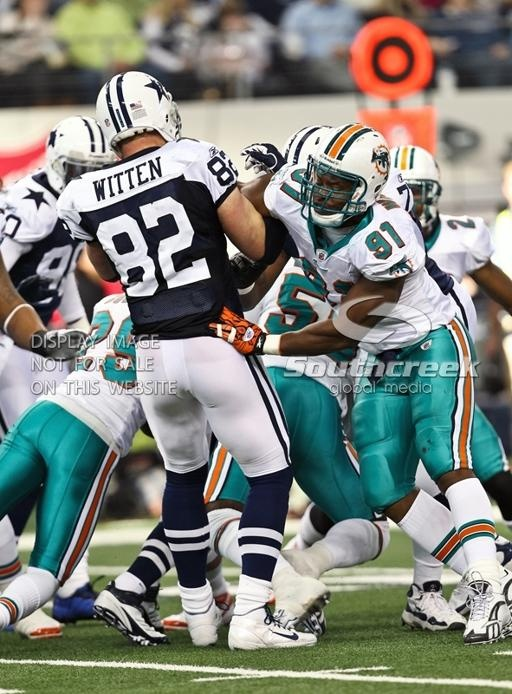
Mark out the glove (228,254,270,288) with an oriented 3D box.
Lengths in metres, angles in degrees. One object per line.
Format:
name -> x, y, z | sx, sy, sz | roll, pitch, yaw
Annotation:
glove -> -0.022, -0.212, 2.143 | 0.080, 0.048, 0.108 | -40, 7, -25

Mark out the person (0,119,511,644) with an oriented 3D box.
person -> 0.005, 0.312, 2.856 | 1.330, 1.932, 0.558 | -2, -9, 0

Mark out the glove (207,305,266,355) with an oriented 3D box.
glove -> -0.042, -0.041, 1.885 | 0.041, 0.155, 0.085 | -20, 42, 58

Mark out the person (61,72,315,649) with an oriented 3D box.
person -> -0.137, 0.058, 2.001 | 0.407, 1.567, 0.595 | -20, 21, -39

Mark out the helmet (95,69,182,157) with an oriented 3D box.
helmet -> -0.313, -0.628, 2.046 | 0.183, 0.182, 0.236 | -19, 3, 28
